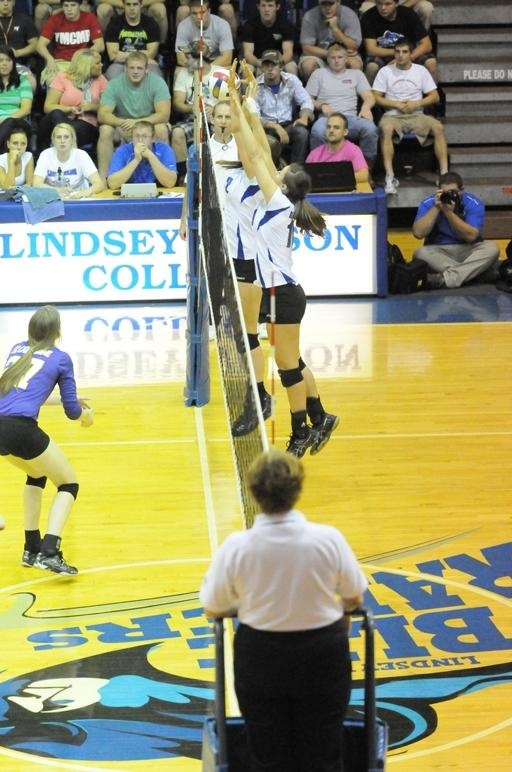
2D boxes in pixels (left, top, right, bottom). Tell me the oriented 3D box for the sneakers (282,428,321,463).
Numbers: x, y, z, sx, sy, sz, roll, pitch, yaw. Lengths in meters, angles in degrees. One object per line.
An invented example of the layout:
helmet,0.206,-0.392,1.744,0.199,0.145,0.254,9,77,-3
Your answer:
sneakers,0.303,0.424,6.259,0.186,0.128,0.390,3,-29,-17

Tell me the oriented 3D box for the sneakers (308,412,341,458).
sneakers,0.447,0.293,6.359,0.158,0.334,0.116,18,22,-20

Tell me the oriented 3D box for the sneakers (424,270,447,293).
sneakers,2.125,-1.199,11.177,0.244,0.241,0.175,-3,23,44

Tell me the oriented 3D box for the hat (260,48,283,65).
hat,0.218,-4.110,12.175,0.281,0.196,0.240,-5,9,-15

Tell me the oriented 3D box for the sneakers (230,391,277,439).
sneakers,-0.033,0.133,4.080,0.112,0.119,0.307,12,35,13

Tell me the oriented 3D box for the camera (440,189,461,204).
camera,2.129,-2.035,10.506,0.260,0.134,0.145,-4,9,-13
